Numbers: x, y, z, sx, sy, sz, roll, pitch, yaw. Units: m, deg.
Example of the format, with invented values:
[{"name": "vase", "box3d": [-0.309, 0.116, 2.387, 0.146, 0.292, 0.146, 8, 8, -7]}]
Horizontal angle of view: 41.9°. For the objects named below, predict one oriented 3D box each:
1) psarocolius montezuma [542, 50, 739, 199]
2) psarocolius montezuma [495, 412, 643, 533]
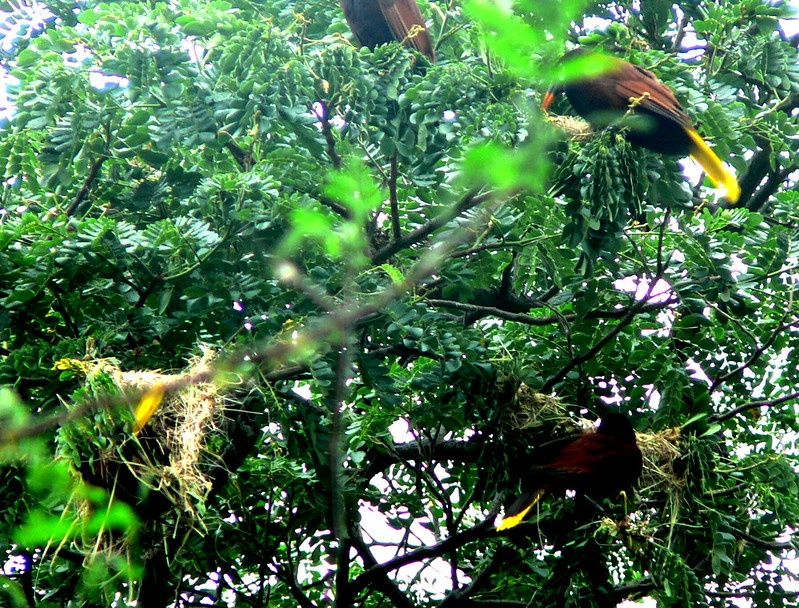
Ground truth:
[{"name": "psarocolius montezuma", "box3d": [1.057, -0.854, 4.602, 0.979, 0.420, 0.307, 14, -8, 12]}, {"name": "psarocolius montezuma", "box3d": [0.766, 0.740, 4.843, 0.730, 0.452, 0.409, 1, -7, -15]}]
